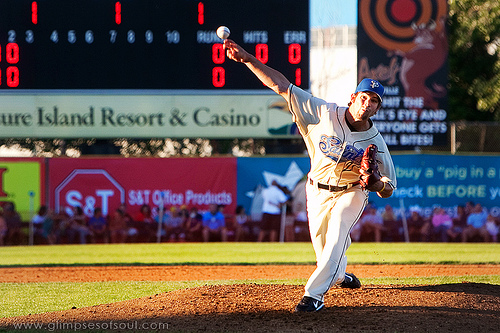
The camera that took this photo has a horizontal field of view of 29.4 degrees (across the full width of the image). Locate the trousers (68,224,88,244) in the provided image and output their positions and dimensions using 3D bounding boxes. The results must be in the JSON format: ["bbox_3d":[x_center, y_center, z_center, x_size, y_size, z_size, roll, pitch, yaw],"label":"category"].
[{"bbox_3d":[-5.072,1.984,28.525,0.604,0.835,0.520,0,1,-39],"label":"trousers"}]

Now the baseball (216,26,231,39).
[{"bbox_3d":[-0.581,-2.934,21.054,0.247,0.270,0.144,8,-5,8],"label":"baseball"}]

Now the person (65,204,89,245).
[{"bbox_3d":[-5.158,1.711,28.477,0.673,1.137,0.369,-1,7,-3],"label":"person"}]

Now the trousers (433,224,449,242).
[{"bbox_3d":[5.667,1.957,28.297,0.444,0.511,0.061,2,8,18],"label":"trousers"}]

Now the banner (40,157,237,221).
[{"bbox_3d":[-3.383,0.647,28.728,5.775,1.864,0.602,-1,7,-1],"label":"banner"}]
